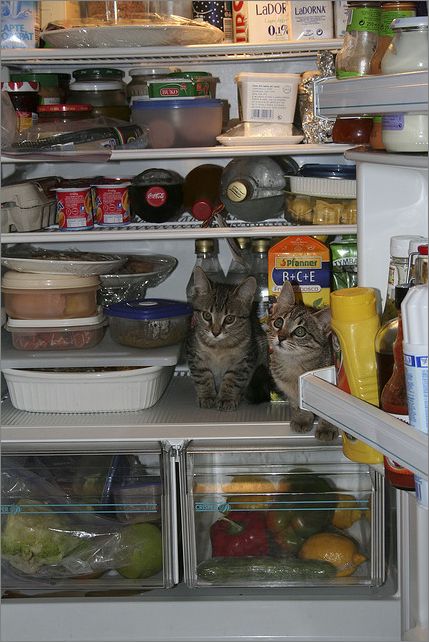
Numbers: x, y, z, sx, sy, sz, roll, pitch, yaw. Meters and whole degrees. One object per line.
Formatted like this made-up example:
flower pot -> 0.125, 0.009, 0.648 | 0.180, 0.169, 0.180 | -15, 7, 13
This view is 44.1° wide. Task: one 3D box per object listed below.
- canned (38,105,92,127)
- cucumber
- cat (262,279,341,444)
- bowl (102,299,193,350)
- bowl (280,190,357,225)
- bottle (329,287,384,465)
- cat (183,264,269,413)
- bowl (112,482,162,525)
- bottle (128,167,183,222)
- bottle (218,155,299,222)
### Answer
canned -> -0.325, -0.424, 1.135 | 0.068, 0.065, 0.069 | 12, 21, 30
cucumber -> 0.113, 0.506, 1.068 | 0.215, 0.052, 0.048 | 0, 54, 5
cat -> 0.165, 0.065, 1.012 | 0.118, 0.302, 0.130 | -1, 17, 10
bowl -> -0.143, -0.002, 1.145 | 0.138, 0.067, 0.116 | -1, 13, -1
bowl -> 0.216, -0.232, 1.097 | 0.169, 0.068, 0.055 | 13, 24, 42
bottle -> 0.160, 0.068, 0.593 | 0.057, 0.208, 0.070 | 0, 17, 12
cat -> 0.038, 0.032, 1.210 | 0.181, 0.301, 0.246 | 10, 21, 17
bowl -> -0.158, 0.379, 1.077 | 0.113, 0.068, 0.028 | -6, 15, 20
bottle -> -0.122, -0.273, 1.175 | 0.117, 0.118, 0.113 | -1, 6, 0
bottle -> 0.093, -0.277, 1.127 | 0.163, 0.144, 0.254 | -2, 17, 4
